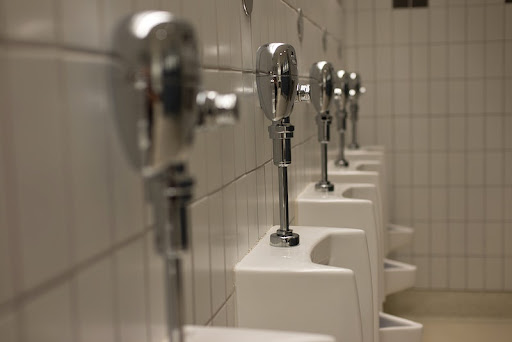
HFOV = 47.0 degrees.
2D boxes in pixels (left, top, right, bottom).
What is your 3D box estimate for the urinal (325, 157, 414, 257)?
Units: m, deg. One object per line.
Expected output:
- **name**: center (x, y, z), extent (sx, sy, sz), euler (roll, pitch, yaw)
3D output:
- **urinal**: center (0.509, 0.127, 2.378), extent (0.293, 0.443, 0.319), euler (7, 13, 19)
